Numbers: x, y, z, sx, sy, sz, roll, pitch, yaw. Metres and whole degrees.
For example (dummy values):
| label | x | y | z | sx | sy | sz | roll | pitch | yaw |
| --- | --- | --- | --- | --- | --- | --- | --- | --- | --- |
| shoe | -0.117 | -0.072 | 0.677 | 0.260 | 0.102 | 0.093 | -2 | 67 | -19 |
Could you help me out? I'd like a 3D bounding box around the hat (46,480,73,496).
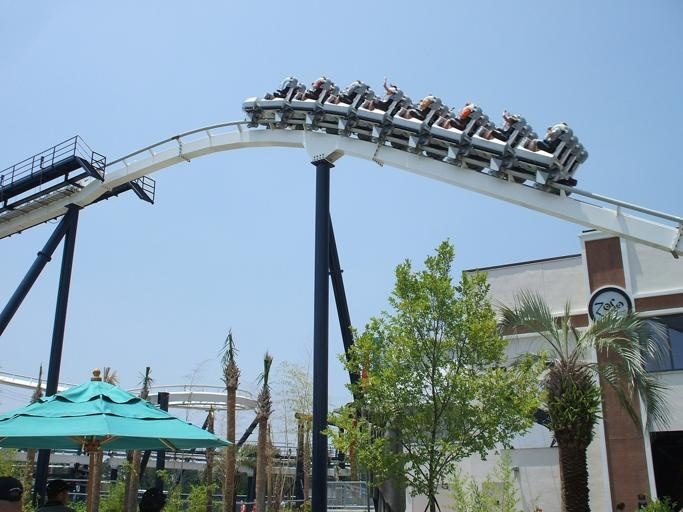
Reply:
| label | x | y | z | sx | sy | sz | roll | pitch | yaw |
| --- | --- | --- | --- | --- | --- | --- | --- | --- | --- |
| hat | -4.603 | 3.857 | 10.931 | 0.238 | 0.330 | 0.317 | -1 | -21 | 6 |
